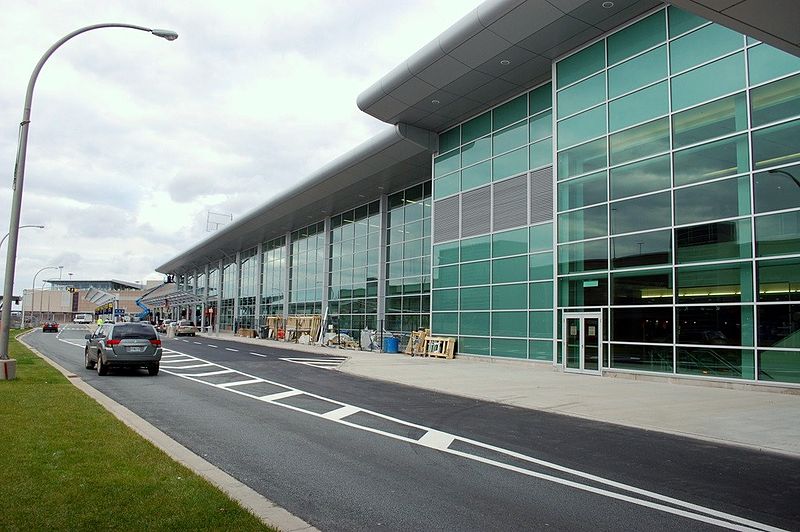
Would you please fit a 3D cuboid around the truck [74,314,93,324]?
[{"bbox_3d":[-68.933,11.393,112.295,4.852,2.359,3.125,-8,-9,33],"label":"truck"}]

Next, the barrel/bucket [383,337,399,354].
[{"bbox_3d":[-0.560,5.284,35.211,1.199,0.943,1.014,-4,-11,13],"label":"barrel/bucket"}]

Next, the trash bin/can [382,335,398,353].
[{"bbox_3d":[-0.513,5.142,35.135,1.162,1.042,1.866,1,5,-2],"label":"trash bin/can"}]
